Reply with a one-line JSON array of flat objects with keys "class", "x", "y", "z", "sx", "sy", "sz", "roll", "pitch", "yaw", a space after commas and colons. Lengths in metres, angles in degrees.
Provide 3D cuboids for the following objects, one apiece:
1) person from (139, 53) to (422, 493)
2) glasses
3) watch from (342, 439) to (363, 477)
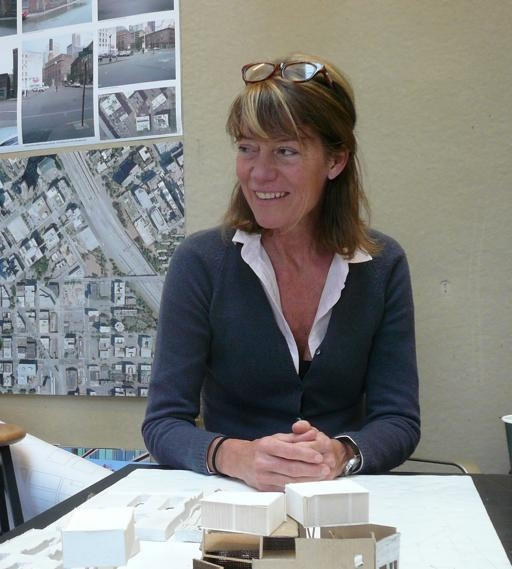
[{"class": "person", "x": 0.046, "y": -0.049, "z": 1.737, "sx": 0.492, "sy": 0.804, "sz": 0.654, "roll": -2, "pitch": 8, "yaw": 20}, {"class": "glasses", "x": 0.061, "y": -0.414, "z": 1.718, "sx": 0.178, "sy": 0.050, "sz": 0.070, "roll": -3, "pitch": 7, "yaw": 3}, {"class": "watch", "x": 0.177, "y": 0.314, "z": 1.577, "sx": 0.031, "sy": 0.050, "sz": 0.041, "roll": 27, "pitch": -41, "yaw": -28}]
